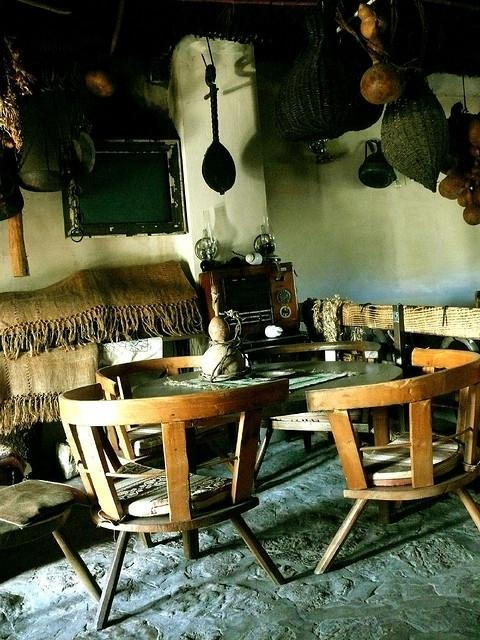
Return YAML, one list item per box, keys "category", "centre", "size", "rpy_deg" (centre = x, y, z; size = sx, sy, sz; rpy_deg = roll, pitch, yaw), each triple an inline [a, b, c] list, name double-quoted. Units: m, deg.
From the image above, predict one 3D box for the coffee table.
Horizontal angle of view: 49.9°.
- category: "coffee table"
  centre: [0.359, 0.419, 2.270]
  size: [0.731, 0.376, 0.658]
  rpy_deg: [-4, 3, -38]

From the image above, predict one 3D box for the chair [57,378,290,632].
- category: "chair"
  centre: [-0.227, 0.401, 1.847]
  size: [0.769, 0.770, 0.834]
  rpy_deg: [-5, 1, -31]

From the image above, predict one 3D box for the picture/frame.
- category: "picture/frame"
  centre: [-0.805, -0.910, 3.500]
  size: [0.815, 0.600, 0.084]
  rpy_deg: [-5, 5, -19]
